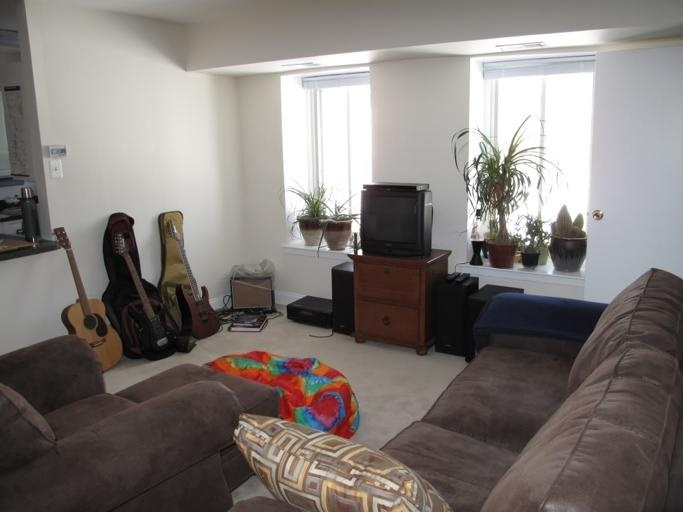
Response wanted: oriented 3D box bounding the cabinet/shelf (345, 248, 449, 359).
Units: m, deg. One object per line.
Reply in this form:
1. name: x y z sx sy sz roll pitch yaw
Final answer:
1. cabinet/shelf: 0.514 0.355 4.202 0.708 0.804 0.529 6 14 28

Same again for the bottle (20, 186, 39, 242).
1. bottle: -2.476 -0.327 3.777 0.131 0.427 0.209 -10 16 -33

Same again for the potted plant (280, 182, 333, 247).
1. potted plant: -0.303 -0.427 4.969 0.542 0.653 0.598 1 1 17

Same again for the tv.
1. tv: 0.423 -0.246 4.234 0.708 0.817 0.514 3 5 25

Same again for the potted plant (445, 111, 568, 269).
1. potted plant: 1.476 -0.596 4.674 1.179 1.621 1.110 -2 7 -17

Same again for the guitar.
1. guitar: -1.816 0.504 3.943 0.733 1.436 0.294 -16 -10 -47

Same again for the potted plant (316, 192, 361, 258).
1. potted plant: -0.083 -0.340 4.966 0.511 0.578 0.556 1 4 -6
